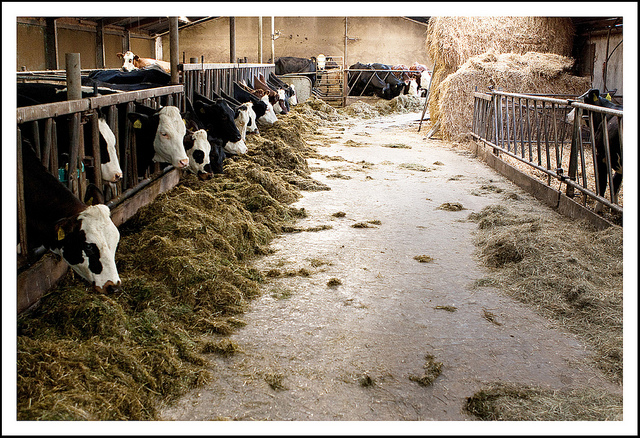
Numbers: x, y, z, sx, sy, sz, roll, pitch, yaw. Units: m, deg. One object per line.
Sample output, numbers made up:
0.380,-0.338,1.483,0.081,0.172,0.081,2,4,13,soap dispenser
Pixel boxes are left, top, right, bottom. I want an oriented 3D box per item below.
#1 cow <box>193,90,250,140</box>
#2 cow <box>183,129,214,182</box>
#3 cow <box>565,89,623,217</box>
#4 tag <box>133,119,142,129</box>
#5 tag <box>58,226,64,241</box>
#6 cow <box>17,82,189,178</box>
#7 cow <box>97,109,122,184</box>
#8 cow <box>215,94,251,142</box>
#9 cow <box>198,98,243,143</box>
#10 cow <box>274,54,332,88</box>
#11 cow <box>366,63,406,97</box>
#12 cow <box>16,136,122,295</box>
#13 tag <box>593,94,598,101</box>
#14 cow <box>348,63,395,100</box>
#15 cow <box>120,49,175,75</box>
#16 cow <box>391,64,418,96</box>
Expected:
-1.735,-1.914,8.966,1.196,0.645,0.339,33,23,15,cow
-1.521,-0.810,6.328,0.232,0.703,0.357,-9,-1,-42,cow
3.478,-0.896,6.298,0.517,1.382,2.322,7,17,25,cow
-1.951,-1.018,5.391,0.068,0.059,0.082,0,12,-3,tag
-1.811,0.106,3.525,0.038,0.077,0.019,4,4,-8,tag
-2.429,-0.954,6.222,2.285,1.155,0.609,14,21,31,cow
-2.033,-0.697,4.822,0.190,0.628,0.320,-16,17,-40,cow
-1.562,-1.922,9.158,0.428,0.666,1.282,-14,35,-33,cow
-1.543,-1.496,7.697,0.606,0.652,0.259,-5,16,-14,cow
-0.860,-7.258,23.974,2.730,1.404,0.934,-2,13,-15,cow
3.171,-6.391,23.070,1.348,1.371,1.331,1,16,5,cow
-1.800,-0.016,3.630,0.673,1.106,0.267,5,16,18,cow
3.571,-1.585,6.557,0.046,0.078,0.041,-24,33,14,tag
2.260,-6.384,23.156,1.952,1.733,0.637,7,57,36,cow
-6.230,-5.372,17.570,0.715,0.960,1.987,7,25,6,cow
3.996,-6.614,24.006,1.241,1.967,0.980,-13,21,-32,cow
